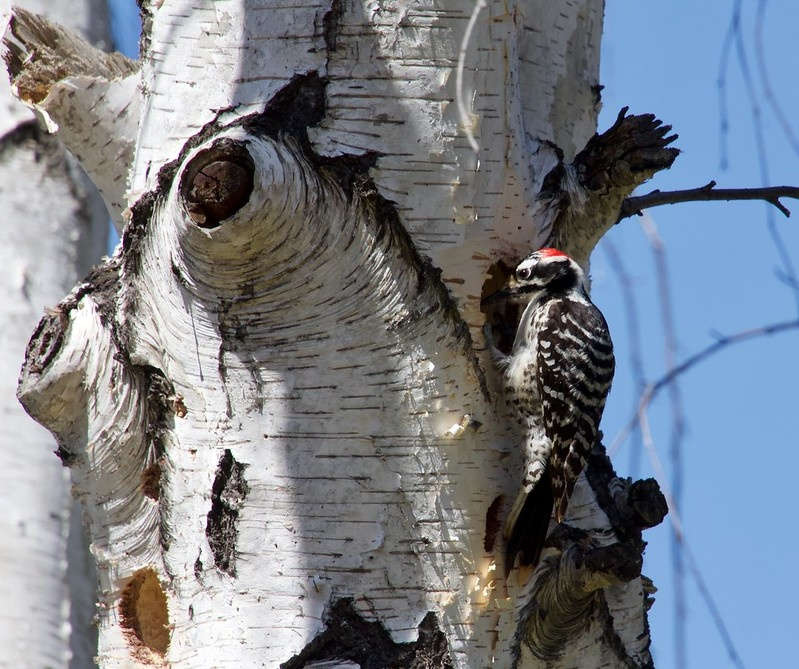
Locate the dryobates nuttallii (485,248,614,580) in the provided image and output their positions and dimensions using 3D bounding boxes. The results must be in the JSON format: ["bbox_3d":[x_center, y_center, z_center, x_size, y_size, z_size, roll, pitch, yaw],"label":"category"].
[{"bbox_3d":[0.538,0.343,9.053,0.535,1.239,0.324,14,-39,1],"label":"dryobates nuttallii"}]
